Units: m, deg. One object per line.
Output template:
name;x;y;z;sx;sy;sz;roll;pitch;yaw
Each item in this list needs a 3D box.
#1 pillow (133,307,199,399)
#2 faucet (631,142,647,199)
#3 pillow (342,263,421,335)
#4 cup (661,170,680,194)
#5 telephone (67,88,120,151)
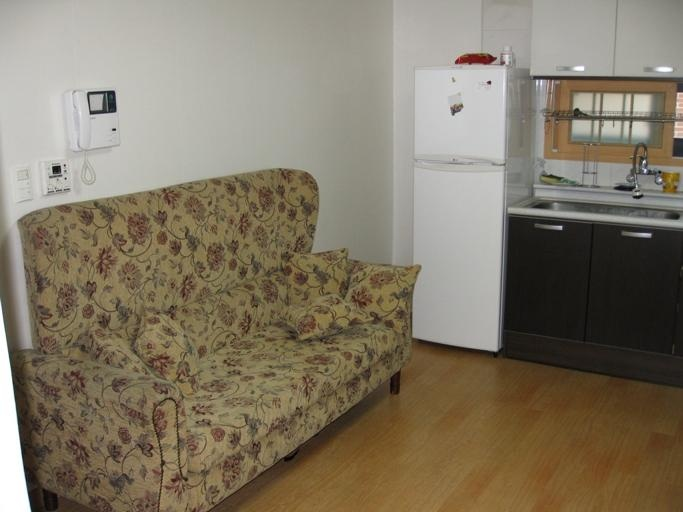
pillow;-0.779;0.428;2.443;0.088;0.391;0.279;-30;-3;34
faucet;2.170;-0.620;3.970;0.097;0.405;0.222;4;15;27
pillow;0.245;0.278;3.395;0.452;0.450;0.138;13;-1;18
cup;2.360;-0.535;3.907;0.136;0.158;0.140;2;6;0
telephone;-1.200;-0.673;2.635;0.084;0.279;0.283;9;20;19
